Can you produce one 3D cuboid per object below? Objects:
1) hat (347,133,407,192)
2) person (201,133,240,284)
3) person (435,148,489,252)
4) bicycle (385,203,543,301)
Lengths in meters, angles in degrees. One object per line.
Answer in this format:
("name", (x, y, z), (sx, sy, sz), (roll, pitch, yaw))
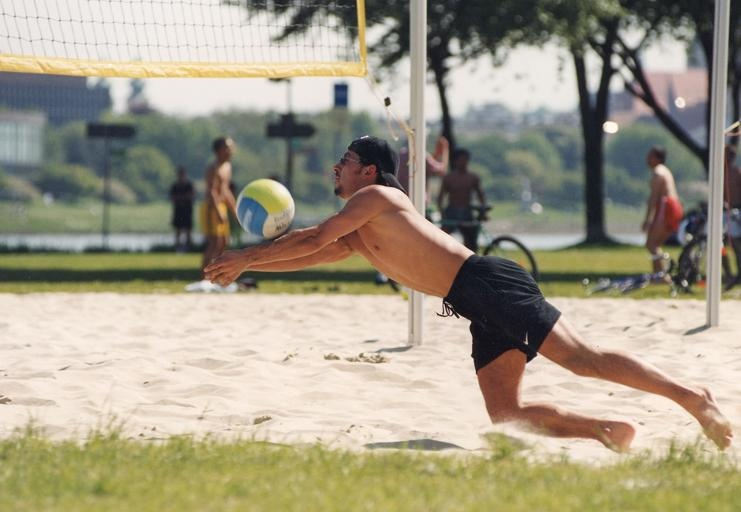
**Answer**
("hat", (0.062, -1.171, 19.277), (0.769, 0.656, 0.542), (24, 9, 7))
("person", (-2.372, -0.773, 24.587), (0.605, 2.149, 0.570), (1, 13, 3))
("person", (1.462, -0.944, 25.262), (0.704, 1.732, 0.827), (3, 9, 8))
("bicycle", (1.418, -0.127, 25.343), (2.677, 1.560, 1.318), (4, -1, 7))
